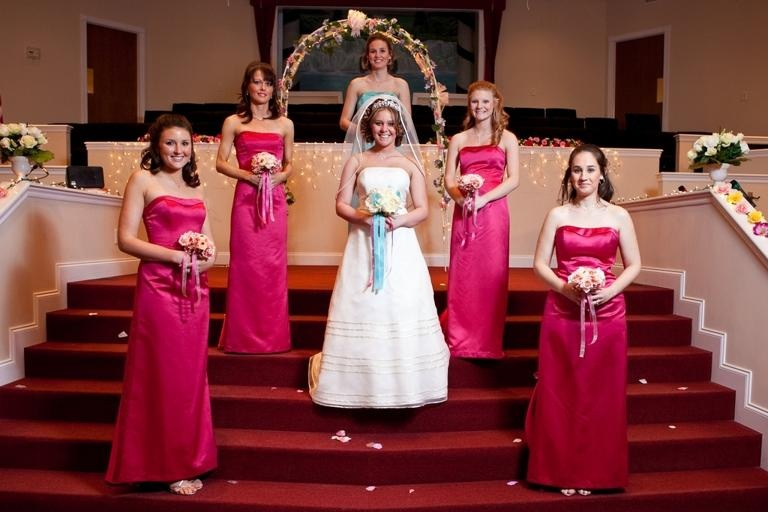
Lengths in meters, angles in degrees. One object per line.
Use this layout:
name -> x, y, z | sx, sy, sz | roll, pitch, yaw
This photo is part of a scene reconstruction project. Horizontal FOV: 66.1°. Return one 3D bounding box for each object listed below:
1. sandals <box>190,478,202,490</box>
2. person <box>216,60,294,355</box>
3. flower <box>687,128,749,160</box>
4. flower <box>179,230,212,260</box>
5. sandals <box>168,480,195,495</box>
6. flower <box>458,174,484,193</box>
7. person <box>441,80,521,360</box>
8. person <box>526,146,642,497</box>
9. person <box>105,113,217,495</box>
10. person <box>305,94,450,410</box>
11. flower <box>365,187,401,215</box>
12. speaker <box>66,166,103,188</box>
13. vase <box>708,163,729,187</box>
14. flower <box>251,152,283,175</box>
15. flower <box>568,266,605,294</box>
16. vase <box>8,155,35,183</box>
sandals -> -1.471, 1.780, 4.611 | 0.084, 0.114, 0.039 | -1, 6, -24
person -> -1.197, -0.468, 5.511 | 0.669, 2.675, 0.604 | 0, 8, -13
flower -> 3.545, -1.113, 6.262 | 0.384, 0.226, 0.397 | -11, -3, 13
flower -> -1.402, -0.079, 4.406 | 0.250, 0.207, 0.100 | 2, 7, 3
sandals -> -1.545, 1.787, 4.550 | 0.158, 0.054, 0.116 | 4, 17, -22
flower -> 0.765, -0.653, 5.251 | 0.212, 0.166, 0.237 | 3, 8, 7
person -> 0.866, -0.335, 5.403 | 0.649, 2.490, 0.525 | 3, 7, 6
person -> 1.562, 0.489, 4.616 | 0.811, 2.712, 0.589 | 4, 8, 14
person -> -1.685, 0.372, 4.503 | 0.776, 2.896, 0.454 | -1, 8, -18
person -> -0.003, -0.014, 4.877 | 1.100, 2.629, 0.564 | 3, 7, 6
flower -> -0.009, -0.436, 4.697 | 0.213, 0.228, 0.095 | 2, 7, -1
speaker -> -3.605, -0.959, 7.120 | 0.384, 0.268, 0.274 | -3, 9, -35
vase -> 3.534, -0.888, 6.252 | 0.152, 0.203, 0.384 | 6, 8, 27
flower -> -1.073, -0.837, 5.347 | 0.203, 0.147, 0.207 | 6, 3, 39
flower -> 1.486, 0.168, 4.322 | 0.183, 0.116, 0.214 | -4, -1, 26
vase -> -3.733, -0.910, 6.076 | 0.176, 0.254, 0.816 | -3, 9, -32
